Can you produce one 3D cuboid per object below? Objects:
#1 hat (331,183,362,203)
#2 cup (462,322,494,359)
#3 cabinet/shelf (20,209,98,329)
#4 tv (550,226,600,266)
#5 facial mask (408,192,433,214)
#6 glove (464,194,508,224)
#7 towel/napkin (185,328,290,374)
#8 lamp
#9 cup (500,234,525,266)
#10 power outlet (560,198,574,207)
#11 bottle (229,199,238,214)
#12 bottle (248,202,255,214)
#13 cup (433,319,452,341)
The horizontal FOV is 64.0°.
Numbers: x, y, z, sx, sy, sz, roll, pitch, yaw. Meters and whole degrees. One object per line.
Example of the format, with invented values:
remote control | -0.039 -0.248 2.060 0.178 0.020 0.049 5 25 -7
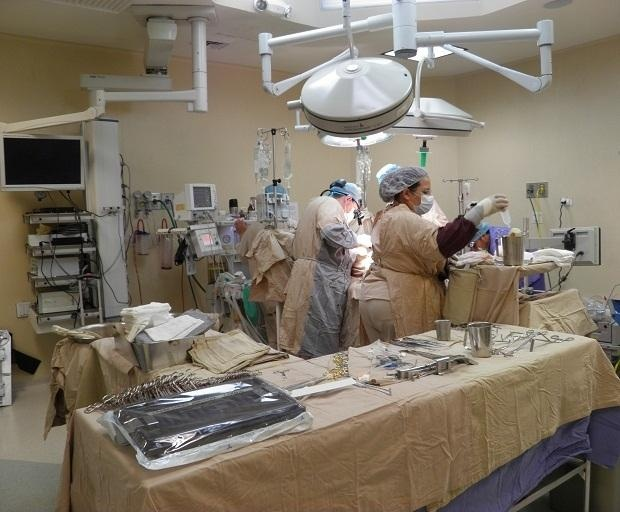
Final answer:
hat | 0.298 -0.524 4.097 0.188 0.124 0.162 -1 0 4
cup | 0.721 0.340 2.089 0.082 0.148 0.141 -9 13 3
cabinet/shelf | -2.187 0.126 4.316 0.586 1.029 0.623 -2 10 -23
tv | 1.832 -0.040 3.428 0.287 0.278 0.169 -1 -18 32
facial mask | 0.715 -0.342 3.190 0.116 0.097 0.109 -23 13 7
glove | 0.884 -0.232 2.470 0.192 0.152 0.204 4 11 24
towel/napkin | -0.335 0.435 2.252 0.309 0.114 0.311 -9 16 -37
lamp | 0.305 -0.842 2.386 1.112 0.577 1.217 -2 10 -12
cup | 1.049 -0.011 2.576 0.118 0.162 0.134 0 -15 15
power outlet | 2.678 -0.540 5.127 0.075 0.092 0.118 2 1 22
bottle | -0.754 -0.484 4.845 0.076 0.140 0.135 -3 10 -17
bottle | -0.573 -0.466 4.817 0.069 0.114 0.035 -1 -12 6
cup | 0.637 0.341 2.359 0.105 0.124 0.075 1 9 16
